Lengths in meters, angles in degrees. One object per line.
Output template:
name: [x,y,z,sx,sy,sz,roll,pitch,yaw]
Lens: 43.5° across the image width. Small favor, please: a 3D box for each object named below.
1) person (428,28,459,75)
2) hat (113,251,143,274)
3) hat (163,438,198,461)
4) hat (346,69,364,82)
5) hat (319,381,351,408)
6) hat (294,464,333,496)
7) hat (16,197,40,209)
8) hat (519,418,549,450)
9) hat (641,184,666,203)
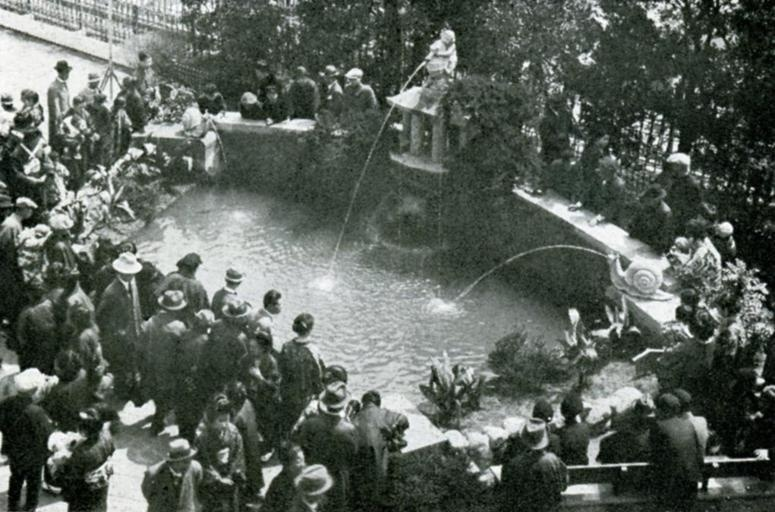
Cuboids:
person: [1.280,-4.675,22.297,0.624,0.883,0.681,8,3,1]
hat: [-4.418,0.146,16.394,0.387,0.152,0.412,8,23,-40]
hat: [-2.932,2.837,13.866,0.432,0.133,0.378,-11,16,-37]
hat: [-0.720,-4.479,23.844,0.419,0.133,0.424,-18,34,-28]
hat: [-0.787,2.047,14.362,0.400,0.319,0.284,8,3,-3]
hat: [-1.001,3.256,14.016,0.551,0.367,0.407,6,4,-25]
hat: [-6.429,-0.949,17.372,0.305,0.122,0.320,7,-1,-8]
hat: [2.201,2.592,14.475,0.463,0.218,0.638,5,25,14]
hat: [5.420,-1.268,19.701,0.395,0.367,0.477,9,3,17]
